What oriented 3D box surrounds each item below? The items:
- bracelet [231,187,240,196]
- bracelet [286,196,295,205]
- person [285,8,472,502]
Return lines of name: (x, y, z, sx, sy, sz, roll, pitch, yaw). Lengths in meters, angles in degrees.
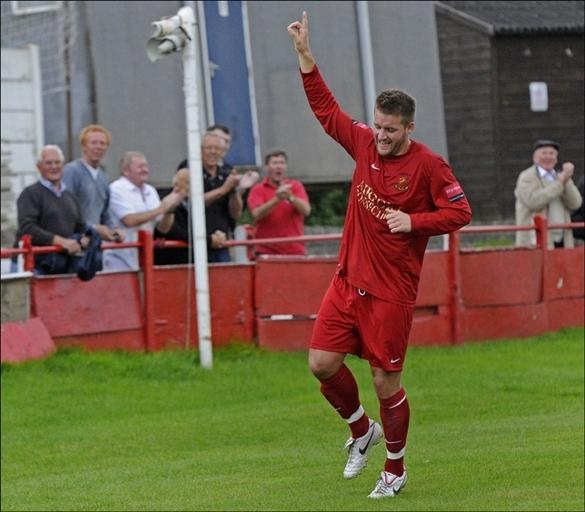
bracelet: (-0.295, -0.337, 7.858, 0.030, 0.032, 0.025, -5, 48, -30)
bracelet: (-0.008, -0.297, 7.987, 0.031, 0.032, 0.008, -29, -10, 35)
person: (0.437, -0.016, 7.060, 0.821, 2.313, 0.376, -3, 3, 13)
